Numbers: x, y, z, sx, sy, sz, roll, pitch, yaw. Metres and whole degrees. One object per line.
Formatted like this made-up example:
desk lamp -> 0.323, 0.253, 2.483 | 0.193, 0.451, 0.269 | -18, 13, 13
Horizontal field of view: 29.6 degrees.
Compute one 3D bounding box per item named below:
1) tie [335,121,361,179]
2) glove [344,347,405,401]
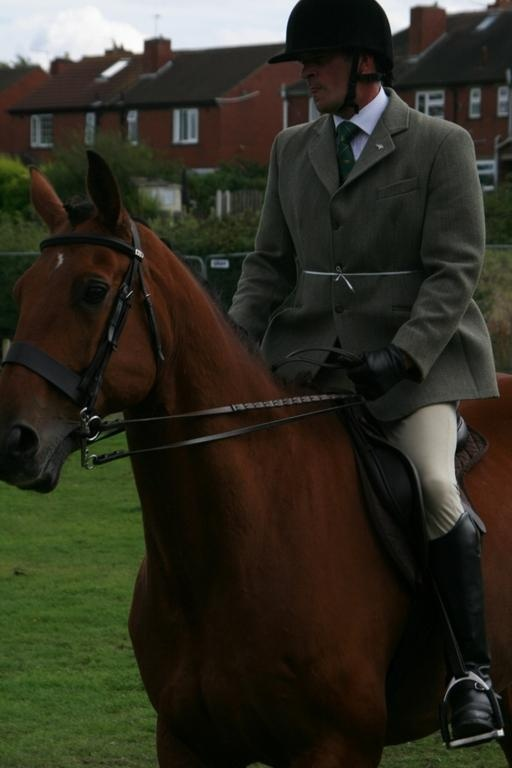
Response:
tie -> 0.256, -0.639, 2.662 | 0.049, 0.191, 0.056 | 1, -11, 16
glove -> 0.300, -0.027, 2.388 | 0.150, 0.101, 0.091 | -37, -2, -36
